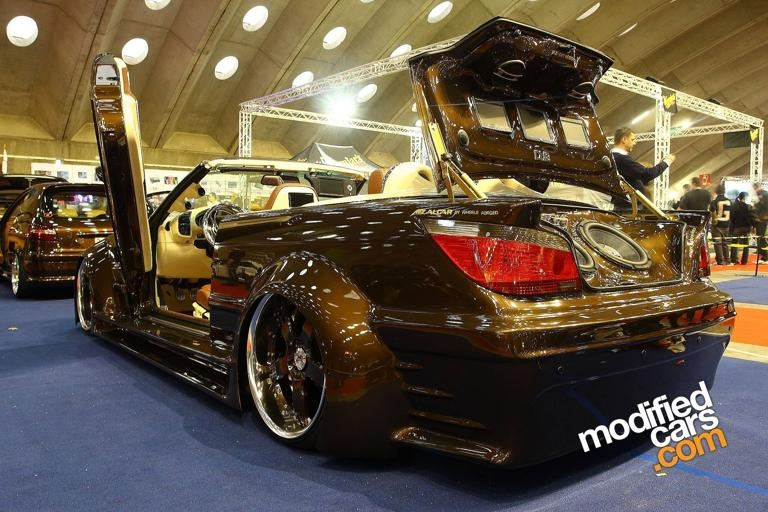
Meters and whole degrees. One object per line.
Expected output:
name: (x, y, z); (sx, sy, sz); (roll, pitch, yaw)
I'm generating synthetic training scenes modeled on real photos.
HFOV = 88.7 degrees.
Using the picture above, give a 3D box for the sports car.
sports car: (-0.548, -0.113, 3.127); (4.197, 1.630, 2.612); (4, 1, 39)
